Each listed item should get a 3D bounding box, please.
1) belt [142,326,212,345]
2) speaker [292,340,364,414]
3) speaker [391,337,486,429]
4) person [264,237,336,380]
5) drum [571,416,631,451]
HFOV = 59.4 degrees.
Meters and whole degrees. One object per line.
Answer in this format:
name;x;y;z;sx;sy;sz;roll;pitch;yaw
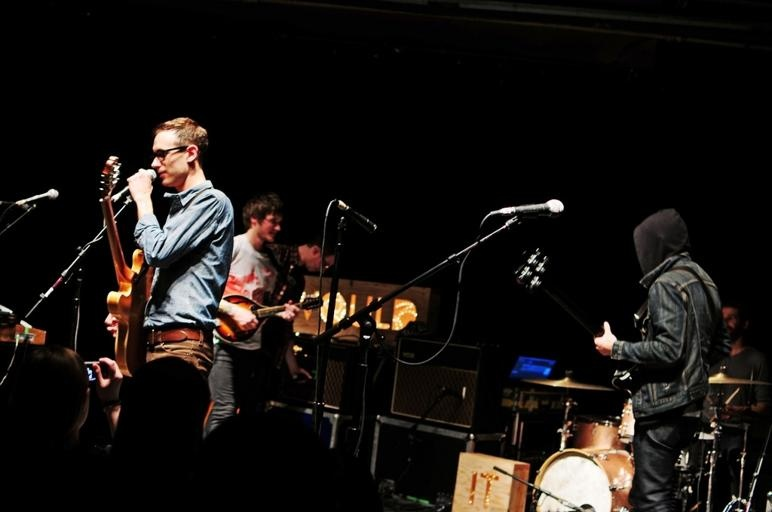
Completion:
belt;-1.163;0.464;3.833;0.357;0.122;0.157;12;-15;-18
speaker;-0.462;1.043;5.753;0.763;0.706;0.425;-4;-10;36
speaker;0.457;1.061;5.601;0.840;0.723;0.310;2;-9;33
person;-0.765;0.500;5.933;0.212;0.495;1.244;-4;22;18
drum;1.695;1.394;5.428;0.287;0.188;0.285;2;-6;0
